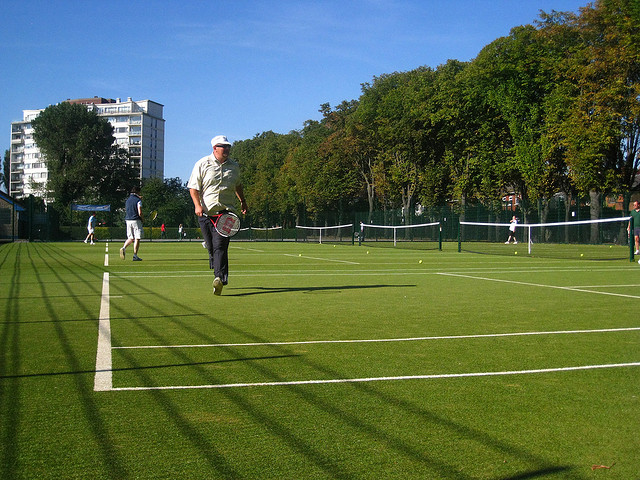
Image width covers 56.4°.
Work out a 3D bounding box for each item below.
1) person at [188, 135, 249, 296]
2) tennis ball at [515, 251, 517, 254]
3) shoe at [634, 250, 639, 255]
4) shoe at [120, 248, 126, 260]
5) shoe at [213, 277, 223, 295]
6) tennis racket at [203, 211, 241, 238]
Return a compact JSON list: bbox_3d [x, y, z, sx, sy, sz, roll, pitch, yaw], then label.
[{"bbox_3d":[-1.576,-0.368,9.278,0.880,2.486,1.279,-1,3,-12],"label":"person"},{"bbox_3d":[8.852,0.560,26.951,0.105,0.076,0.113,-1,0,0],"label":"tennis ball"},{"bbox_3d":[11.663,0.434,21.968,0.415,0.183,0.137,8,-8,-44],"label":"shoe"},{"bbox_3d":[-6.317,0.430,19.127,0.126,0.370,0.161,5,9,23],"label":"shoe"},{"bbox_3d":[-1.523,0.690,8.966,0.098,0.285,0.111,4,45,-8],"label":"shoe"},{"bbox_3d":[-1.495,-0.248,9.210,0.509,0.404,0.472,0,3,-5],"label":"tennis racket"}]
